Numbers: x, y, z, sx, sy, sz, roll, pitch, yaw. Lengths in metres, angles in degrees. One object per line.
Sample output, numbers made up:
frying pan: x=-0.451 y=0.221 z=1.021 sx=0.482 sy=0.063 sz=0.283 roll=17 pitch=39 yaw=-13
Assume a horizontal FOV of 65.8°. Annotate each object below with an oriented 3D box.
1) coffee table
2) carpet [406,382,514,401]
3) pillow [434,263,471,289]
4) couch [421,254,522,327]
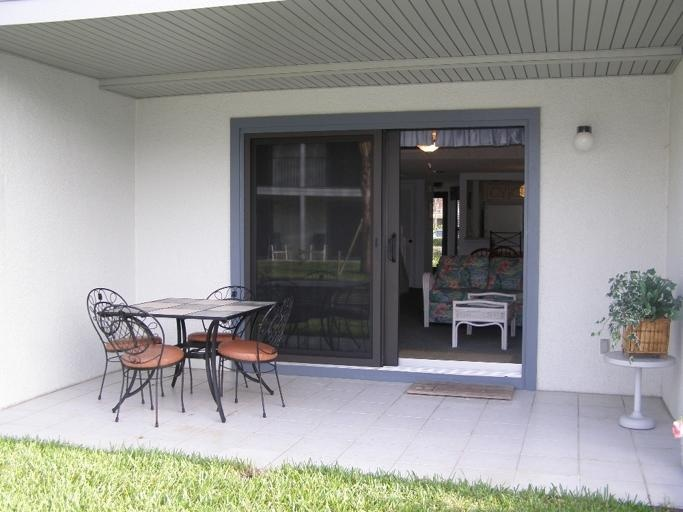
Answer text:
coffee table: x=1.987 y=0.868 z=7.333 sx=0.798 sy=0.620 sz=1.369 roll=1 pitch=3 yaw=19
carpet: x=1.236 y=1.381 z=5.502 sx=1.069 sy=0.041 sz=0.468 roll=1 pitch=3 yaw=15
pillow: x=1.895 y=0.350 z=8.968 sx=0.423 sy=0.399 sz=0.129 roll=-1 pitch=-8 yaw=11
couch: x=2.119 y=0.430 z=8.579 sx=1.879 sy=1.065 sz=1.132 roll=4 pitch=4 yaw=20
